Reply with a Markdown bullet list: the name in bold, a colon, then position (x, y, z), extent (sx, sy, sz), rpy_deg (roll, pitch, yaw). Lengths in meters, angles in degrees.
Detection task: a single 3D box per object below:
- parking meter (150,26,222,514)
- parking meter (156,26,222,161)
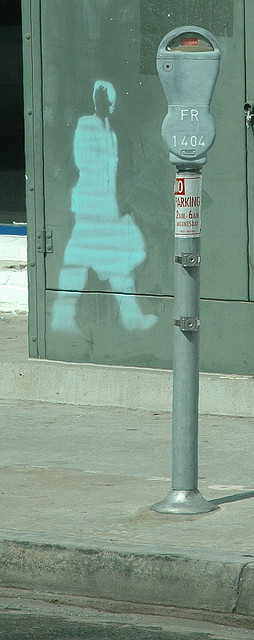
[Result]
- **parking meter**: position (0.269, -0.184, 3.653), extent (0.353, 2.287, 0.247), rpy_deg (-1, 6, 6)
- **parking meter**: position (0.275, -1.024, 3.512), extent (0.282, 0.594, 0.145), rpy_deg (-1, 6, 3)
